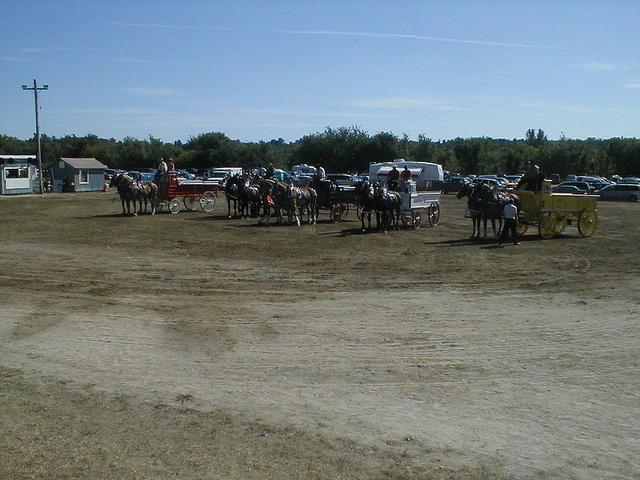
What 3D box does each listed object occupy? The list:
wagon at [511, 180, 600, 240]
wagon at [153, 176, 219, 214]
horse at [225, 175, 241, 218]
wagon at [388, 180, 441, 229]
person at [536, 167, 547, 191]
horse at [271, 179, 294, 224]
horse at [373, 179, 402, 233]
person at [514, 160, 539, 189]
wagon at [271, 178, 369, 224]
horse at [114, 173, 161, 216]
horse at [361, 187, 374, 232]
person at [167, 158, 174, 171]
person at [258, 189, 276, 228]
[{"bbox_3d":[8.741,-1.130,24.084,2.494,1.578,1.430,3,0,27],"label":"wagon"},{"bbox_3d":[-6.191,-2.099,31.174,2.671,1.340,1.562,-7,12,-36],"label":"wagon"},{"bbox_3d":[-3.691,-1.813,28.415,0.640,1.853,1.208,0,11,-7],"label":"horse"},{"bbox_3d":[3.462,-1.448,26.372,1.410,1.806,2.611,1,5,37],"label":"wagon"},{"bbox_3d":[7.571,-2.098,23.423,0.292,0.716,1.029,5,11,17],"label":"person"},{"bbox_3d":[-1.448,-1.385,26.086,1.088,1.628,0.707,12,15,43],"label":"horse"},{"bbox_3d":[2.333,-1.225,24.593,0.514,1.776,1.402,8,13,32],"label":"horse"},{"bbox_3d":[7.403,-2.388,23.884,0.453,0.737,1.390,11,24,41],"label":"person"},{"bbox_3d":[0.516,-1.517,27.740,1.571,1.508,4.442,2,2,42],"label":"wagon"},{"bbox_3d":[-7.824,-1.922,29.034,1.607,1.796,0.789,-6,13,-34],"label":"horse"},{"bbox_3d":[1.653,-1.123,24.364,0.447,1.607,1.028,2,11,4],"label":"horse"},{"bbox_3d":[-6.802,-3.399,30.678,0.276,0.553,1.388,-1,11,-12],"label":"person"},{"bbox_3d":[-2.151,-1.263,26.879,0.438,1.558,0.968,6,30,8],"label":"person"}]
